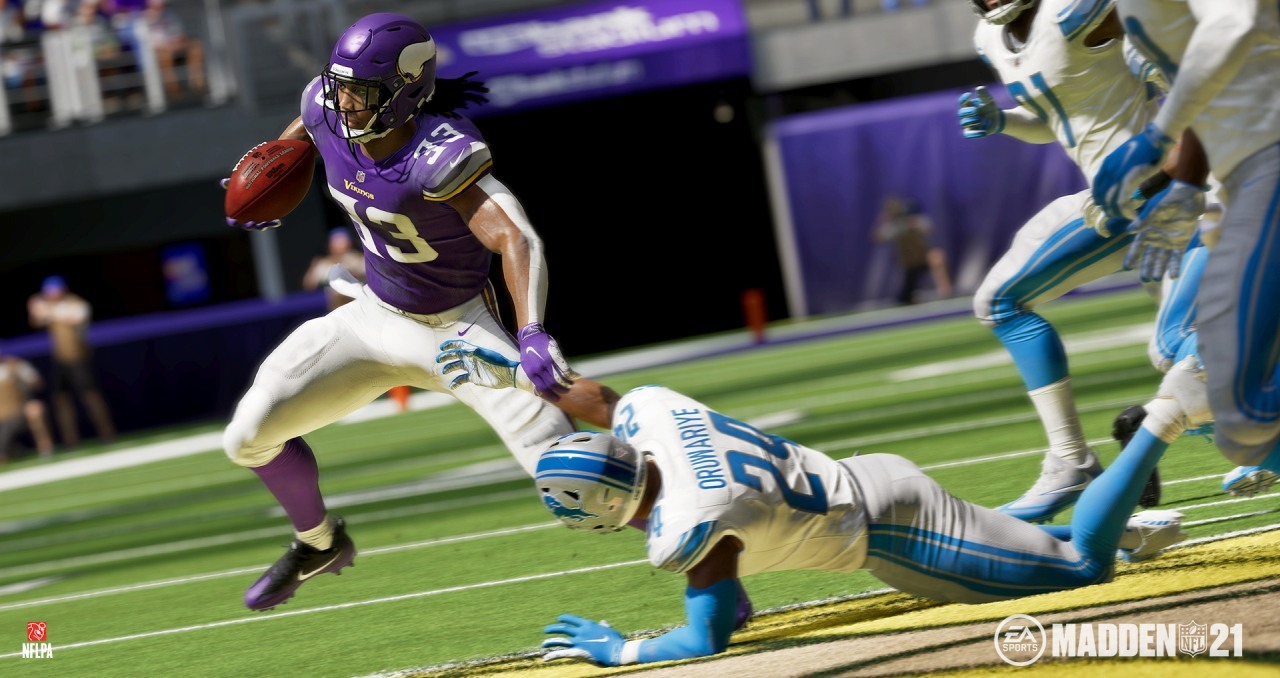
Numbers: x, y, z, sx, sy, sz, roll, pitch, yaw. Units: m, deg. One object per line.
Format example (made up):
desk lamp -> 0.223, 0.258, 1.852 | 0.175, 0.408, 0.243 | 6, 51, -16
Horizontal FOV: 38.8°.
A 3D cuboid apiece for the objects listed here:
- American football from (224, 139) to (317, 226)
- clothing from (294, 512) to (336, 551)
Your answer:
American football -> -2.846, -1.201, 14.249 | 0.856, 0.545, 0.504 | -31, 6, 7
clothing -> -2.462, 1.506, 14.183 | 0.276, 0.294, 0.290 | -25, 57, -34
